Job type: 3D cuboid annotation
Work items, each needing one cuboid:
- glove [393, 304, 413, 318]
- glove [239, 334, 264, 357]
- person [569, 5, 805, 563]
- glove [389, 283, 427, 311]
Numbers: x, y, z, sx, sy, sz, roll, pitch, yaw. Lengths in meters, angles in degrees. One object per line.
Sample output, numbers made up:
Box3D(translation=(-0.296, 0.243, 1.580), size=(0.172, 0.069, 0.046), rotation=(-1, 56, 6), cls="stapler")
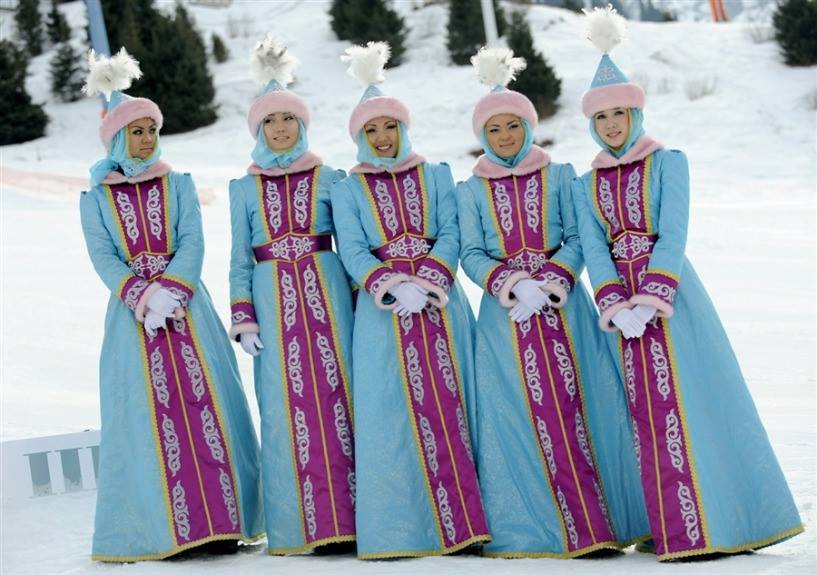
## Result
Box3D(translation=(-0.033, 0.158, 8.848), size=(0.099, 0.101, 0.027), rotation=(-44, 22, 13), cls="glove")
Box3D(translation=(-1.040, 0.393, 8.963), size=(0.162, 0.205, 0.149), rotation=(9, -12, -41), cls="glove")
Box3D(translation=(1.729, 0.087, 8.669), size=(0.794, 3.261, 1.187), rotation=(-9, 9, -30), cls="person")
Box3D(translation=(0.015, 0.070, 8.839), size=(0.256, 0.222, 0.117), rotation=(-4, 8, -1), cls="glove")
